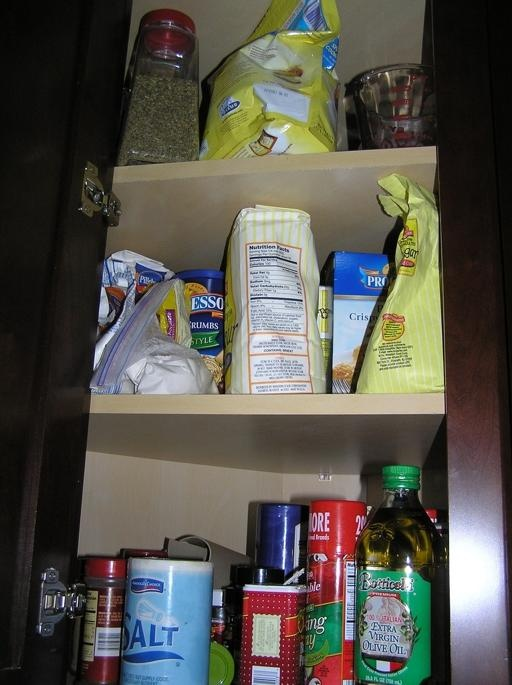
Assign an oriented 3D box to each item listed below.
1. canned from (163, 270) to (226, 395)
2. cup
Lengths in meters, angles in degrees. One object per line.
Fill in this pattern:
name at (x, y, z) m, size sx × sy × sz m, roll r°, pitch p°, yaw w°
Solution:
canned at (-0.058, -0.029, 0.846) m, size 0.087 × 0.150 × 0.089 m, roll 0°, pitch 6°, yaw 39°
cup at (0.178, -0.318, 0.805) m, size 0.104 × 0.122 × 0.127 m, roll -13°, pitch 19°, yaw -23°
